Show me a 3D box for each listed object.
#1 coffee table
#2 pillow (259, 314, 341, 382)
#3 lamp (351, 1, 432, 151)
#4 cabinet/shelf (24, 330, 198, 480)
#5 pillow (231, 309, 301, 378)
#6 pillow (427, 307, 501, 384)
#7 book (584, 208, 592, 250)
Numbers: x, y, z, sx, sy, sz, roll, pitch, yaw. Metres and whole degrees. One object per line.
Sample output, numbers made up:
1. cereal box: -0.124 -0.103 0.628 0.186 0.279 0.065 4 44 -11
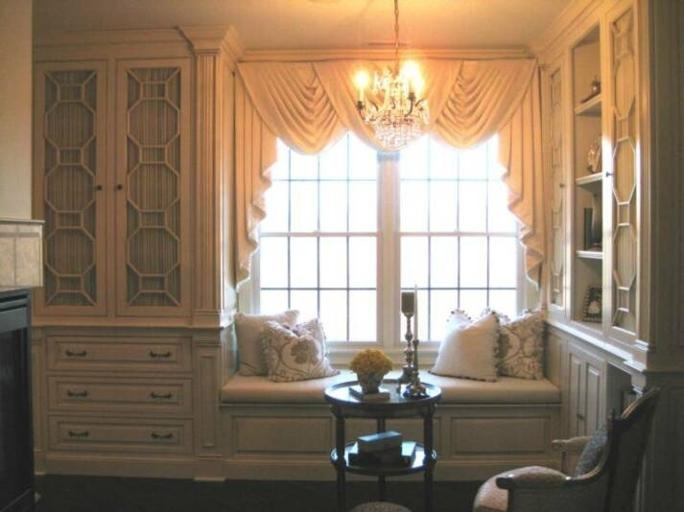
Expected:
1. coffee table: 0.239 1.281 4.872 0.791 0.977 0.846 0 -5 -7
2. pillow: -0.335 0.743 5.594 0.599 0.460 0.279 -1 -1 -7
3. lamp: 0.341 -1.299 5.112 0.566 1.028 1.127 -1 -1 6
4. cabinet/shelf: -1.693 1.157 5.356 1.105 1.042 0.447 0 -2 3
5. pillow: -0.607 0.706 5.770 0.524 0.513 0.201 -1 5 -23
6. pillow: 0.982 0.731 5.596 0.467 0.498 0.194 -1 -22 38
7. book: 1.769 -0.199 5.078 0.033 0.374 0.277 0 -3 20
